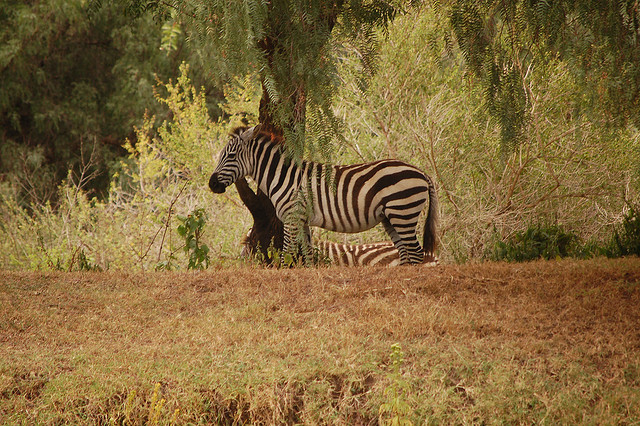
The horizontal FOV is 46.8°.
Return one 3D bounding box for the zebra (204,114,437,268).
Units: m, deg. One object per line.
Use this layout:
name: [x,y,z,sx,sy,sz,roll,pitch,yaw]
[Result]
zebra: [0.009,-0.103,11.197,3.306,2.426,1.055,1,-1,2]
